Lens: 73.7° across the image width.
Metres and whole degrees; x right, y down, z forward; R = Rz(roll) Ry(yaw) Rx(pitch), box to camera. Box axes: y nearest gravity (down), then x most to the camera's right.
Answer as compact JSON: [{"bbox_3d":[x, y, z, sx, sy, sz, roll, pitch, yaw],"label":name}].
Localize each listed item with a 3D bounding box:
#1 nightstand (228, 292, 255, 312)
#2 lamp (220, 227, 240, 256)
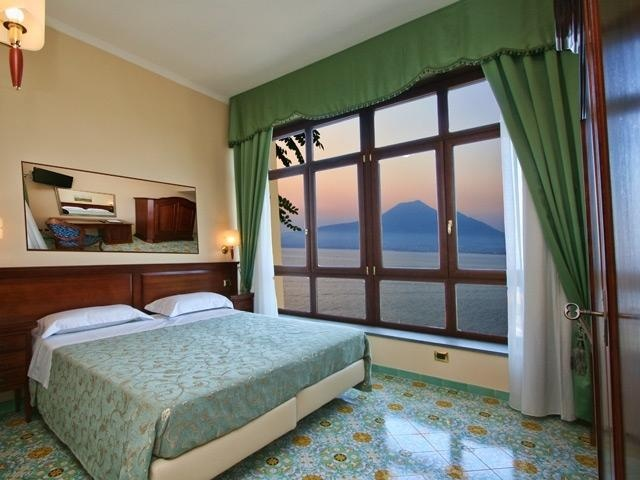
[{"bbox_3d":[-0.971,0.764,5.294,0.219,0.270,0.298,-1,0,34],"label":"nightstand"},{"bbox_3d":[-1.159,0.062,5.490,0.269,0.383,0.175,-8,12,-33],"label":"lamp"}]
